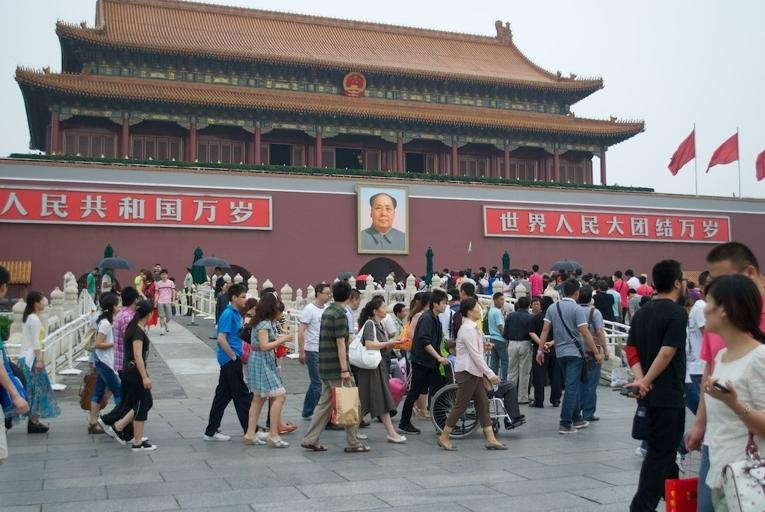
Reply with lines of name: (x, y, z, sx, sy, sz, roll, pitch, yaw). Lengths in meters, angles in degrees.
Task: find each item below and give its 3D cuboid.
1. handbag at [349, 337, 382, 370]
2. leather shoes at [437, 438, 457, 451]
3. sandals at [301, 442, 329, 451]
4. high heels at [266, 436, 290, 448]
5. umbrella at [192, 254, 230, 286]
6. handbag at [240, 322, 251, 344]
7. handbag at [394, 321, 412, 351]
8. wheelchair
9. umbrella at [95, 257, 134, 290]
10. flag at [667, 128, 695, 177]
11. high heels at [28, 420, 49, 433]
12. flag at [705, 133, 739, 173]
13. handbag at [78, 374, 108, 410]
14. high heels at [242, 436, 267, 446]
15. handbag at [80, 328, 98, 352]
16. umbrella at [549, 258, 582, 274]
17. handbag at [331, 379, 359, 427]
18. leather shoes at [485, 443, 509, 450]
handbag: (-0.231, 1.273, 10.896, 0.418, 0.455, 0.219, 2, 0, 3)
leather shoes: (0.820, 2.438, 10.766, 0.257, 0.113, 0.098, 3, -2, 36)
sandals: (-0.877, 2.410, 10.622, 0.238, 0.088, 0.136, -1, -5, 3)
high heels: (-1.366, 2.419, 10.837, 0.265, 0.123, 0.134, 1, -2, -4)
umbrella: (-4.503, 0.202, 21.526, 1.032, 1.097, 1.063, 1, 1, 12)
handbag: (-1.848, 1.039, 11.157, 0.156, 0.290, 0.267, 8, -6, -12)
handbag: (0.306, 1.221, 12.647, 0.259, 0.208, 0.486, -20, 19, 15)
wheelchair: (1.211, 1.863, 11.710, 1.138, 1.409, 0.817, 0, -10, -6)
umbrella: (-6.575, 0.275, 20.233, 0.966, 0.816, 0.986, 0, -6, -4)
flag: (10.553, -3.683, 29.510, 0.798, 1.714, 1.366, -1, 0, 18)
high heels: (-4.687, 2.326, 11.378, 0.272, 0.194, 0.144, 0, -4, -8)
flag: (12.206, -3.780, 29.932, 1.136, 1.512, 0.203, -7, -28, 31)
handbag: (-4.041, 1.840, 11.630, 0.317, 0.613, 0.427, 9, -6, -15)
high heels: (-1.663, 2.417, 10.857, 0.228, 0.085, 0.135, -1, -4, 1)
handbag: (-3.941, 1.132, 11.190, 0.178, 0.274, 0.377, -1, 0, -21)
umbrella: (4.885, 0.296, 22.237, 0.719, 0.367, 0.712, 3, -5, -44)
handbag: (-0.479, 1.873, 10.492, 0.327, 0.526, 0.376, -1, 0, -7)
leather shoes: (1.452, 2.434, 10.721, 0.254, 0.107, 0.095, -3, -4, 0)
